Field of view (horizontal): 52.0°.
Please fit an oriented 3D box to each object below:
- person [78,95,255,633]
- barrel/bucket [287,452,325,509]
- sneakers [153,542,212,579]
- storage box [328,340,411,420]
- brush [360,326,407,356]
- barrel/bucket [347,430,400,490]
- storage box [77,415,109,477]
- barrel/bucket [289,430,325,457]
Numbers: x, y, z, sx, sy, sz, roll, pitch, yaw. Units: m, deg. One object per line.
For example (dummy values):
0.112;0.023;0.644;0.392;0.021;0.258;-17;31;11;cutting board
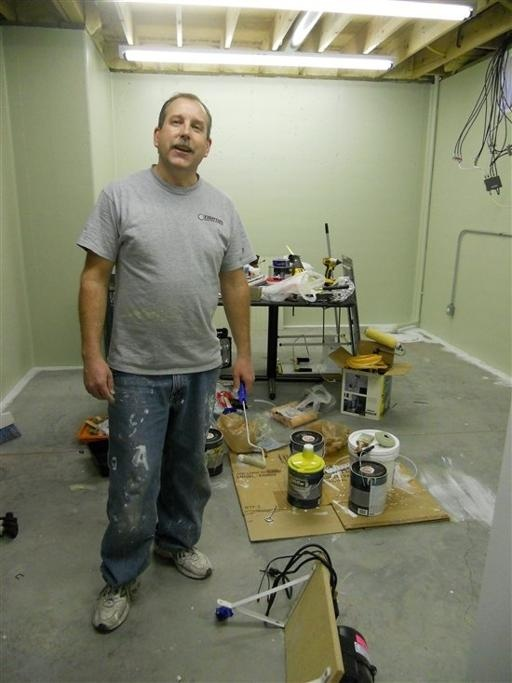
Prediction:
-0.271;0.047;1.640;0.290;1.554;0.592;11;18;35;person
0.207;0.542;2.161;0.140;0.219;0.145;4;16;-1;barrel/bucket
-0.255;0.733;1.844;0.212;0.080;0.085;11;13;28;sneakers
0.692;0.251;3.272;0.385;0.352;0.225;11;28;24;storage box
0.940;-0.004;3.846;0.122;0.119;0.440;-28;22;-8;brush
0.488;0.521;2.307;0.261;0.265;0.255;-1;16;0;barrel/bucket
-0.804;0.503;2.637;0.208;0.099;0.300;-1;19;-19;storage box
0.232;0.427;2.370;0.123;0.129;0.121;2;22;-1;barrel/bucket
